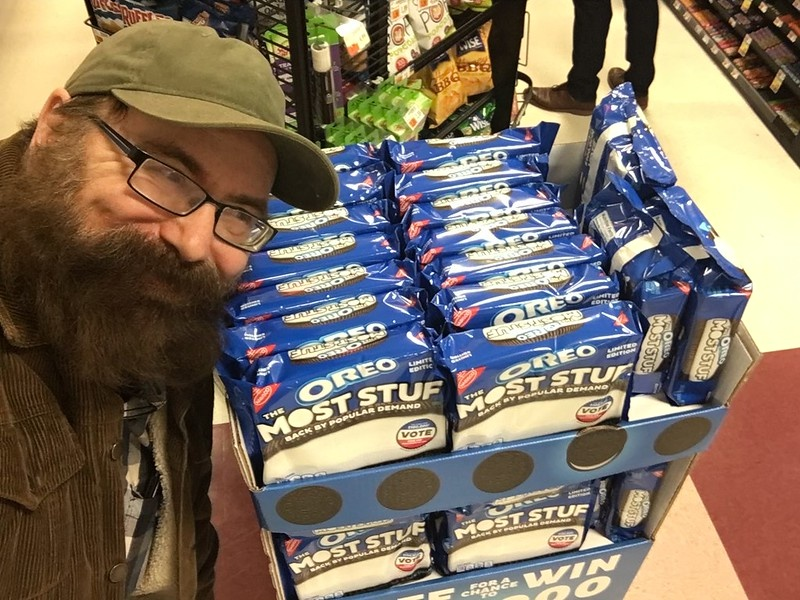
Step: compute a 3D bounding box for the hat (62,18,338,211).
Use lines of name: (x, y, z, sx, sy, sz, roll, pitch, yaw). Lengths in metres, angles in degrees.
hat: (-0.406, -0.463, 1.688, 0.613, 0.253, 0.405, 19, 0, 10)

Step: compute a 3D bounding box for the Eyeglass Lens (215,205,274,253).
Eyeglass Lens: (-0.385, -0.175, 1.725, 0.120, 0.030, 0.110, 25, -2, 32)
